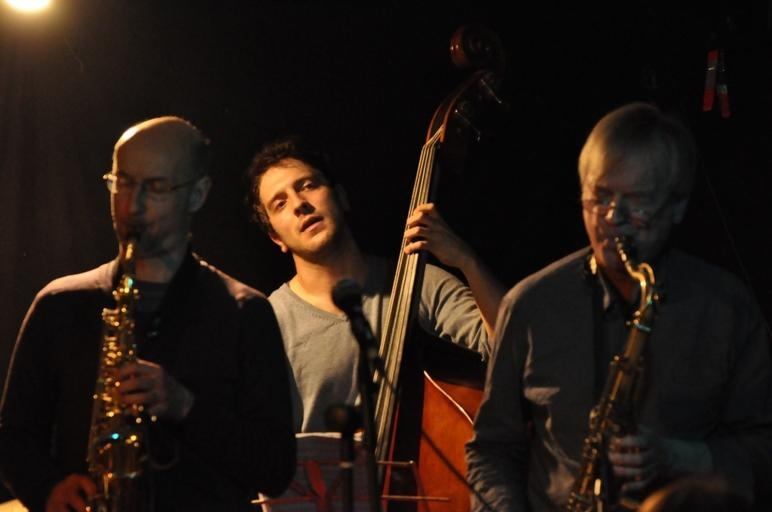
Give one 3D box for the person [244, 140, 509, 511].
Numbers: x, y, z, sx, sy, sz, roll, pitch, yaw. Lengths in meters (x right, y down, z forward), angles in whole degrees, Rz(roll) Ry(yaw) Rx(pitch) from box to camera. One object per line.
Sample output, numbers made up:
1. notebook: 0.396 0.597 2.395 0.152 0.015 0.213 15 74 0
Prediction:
1. person: -0.171 0.233 4.436 0.930 1.696 0.580 1 -5 -19
